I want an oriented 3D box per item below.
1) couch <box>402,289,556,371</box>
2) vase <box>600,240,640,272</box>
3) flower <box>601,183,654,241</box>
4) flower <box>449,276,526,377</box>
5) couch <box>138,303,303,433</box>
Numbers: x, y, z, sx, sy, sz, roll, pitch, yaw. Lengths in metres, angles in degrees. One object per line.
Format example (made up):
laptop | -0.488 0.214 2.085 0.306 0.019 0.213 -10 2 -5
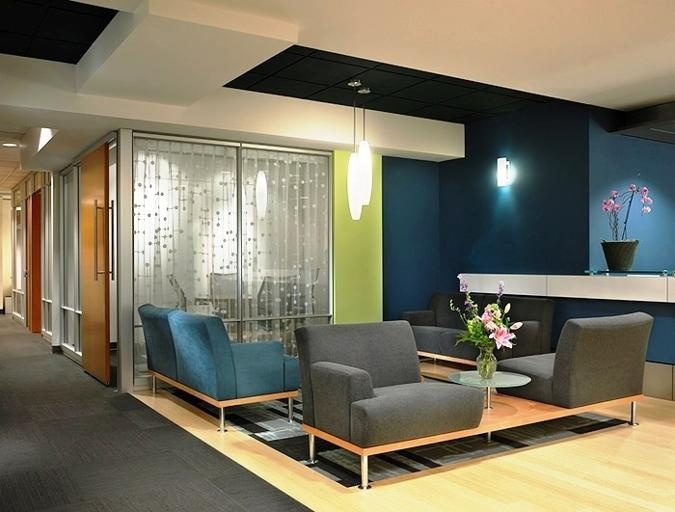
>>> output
couch | 1.984 1.156 7.170 1.017 1.132 2.265 2 -2 -32
vase | 3.619 -0.016 6.092 0.434 0.355 0.427 -5 2 8
flower | 3.962 -0.603 6.544 0.795 0.969 0.397 4 3 34
flower | 1.494 0.716 4.605 0.676 0.864 0.641 5 -7 -38
couch | -1.475 1.238 5.708 1.120 1.143 2.257 2 -4 -37
